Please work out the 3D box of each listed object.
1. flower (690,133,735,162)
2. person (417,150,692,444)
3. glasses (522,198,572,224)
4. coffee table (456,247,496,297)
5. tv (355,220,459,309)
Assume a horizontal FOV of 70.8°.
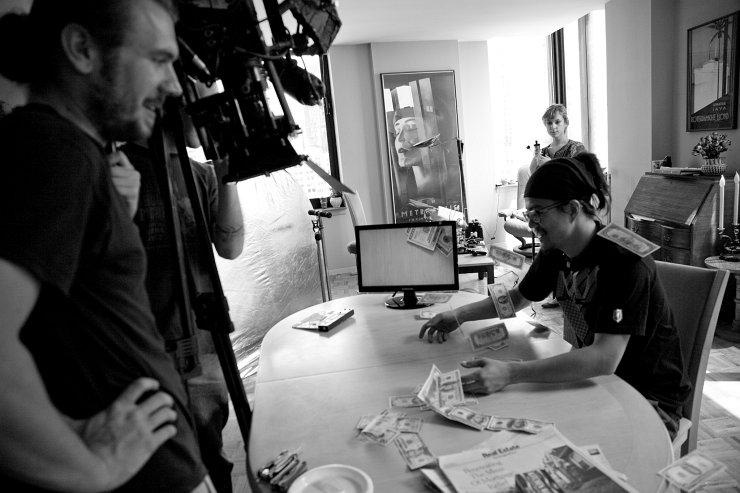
[{"bbox_3d":[3.068,-0.906,4.620,0.346,0.165,0.345,-16,7,-18],"label":"flower"},{"bbox_3d":[0.802,0.371,2.308,1.100,1.411,0.852,-4,7,-22],"label":"person"},{"bbox_3d":[0.715,-0.160,2.136,0.111,0.034,0.107,-22,-1,-17],"label":"glasses"},{"bbox_3d":[0.825,0.196,4.062,0.239,0.168,0.338,-2,11,1],"label":"coffee table"},{"bbox_3d":[0.213,0.103,2.925,0.474,0.391,0.200,-2,0,9],"label":"tv"}]
